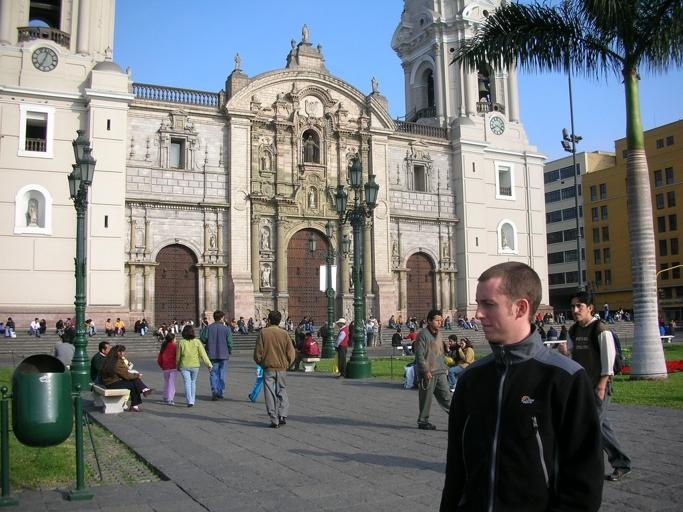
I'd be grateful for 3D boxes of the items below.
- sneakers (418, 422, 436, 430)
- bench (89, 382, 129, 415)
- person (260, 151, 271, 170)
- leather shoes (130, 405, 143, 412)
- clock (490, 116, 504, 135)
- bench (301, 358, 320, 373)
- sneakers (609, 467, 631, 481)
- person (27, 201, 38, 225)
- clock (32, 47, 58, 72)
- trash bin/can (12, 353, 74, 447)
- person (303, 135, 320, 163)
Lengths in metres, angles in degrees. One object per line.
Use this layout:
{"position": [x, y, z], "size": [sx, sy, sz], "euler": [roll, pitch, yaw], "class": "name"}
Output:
{"position": [1.501, 3.050, 13.075], "size": [0.167, 0.112, 0.176], "euler": [-1, -4, 8], "class": "sneakers"}
{"position": [-5.012, 3.104, 15.842], "size": [0.727, 0.600, 1.168], "euler": [1, -6, -24], "class": "bench"}
{"position": [-4.784, -5.945, 45.568], "size": [0.713, 1.287, 0.249], "euler": [4, -8, -44], "class": "person"}
{"position": [-4.521, 3.347, 15.940], "size": [0.218, 0.094, 0.112], "euler": [0, 0, -12], "class": "leather shoes"}
{"position": [11.451, -9.725, 53.934], "size": [1.468, 1.443, 0.157], "euler": [2, -7, -34], "class": "clock"}
{"position": [-1.203, 3.817, 25.593], "size": [0.508, 0.363, 0.515], "euler": [2, -4, -22], "class": "bench"}
{"position": [3.764, 2.983, 9.986], "size": [0.363, 0.138, 0.137], "euler": [-3, -8, -25], "class": "sneakers"}
{"position": [-16.499, -2.325, 38.724], "size": [0.557, 1.481, 0.315], "euler": [1, -6, -29], "class": "person"}
{"position": [-16.303, -10.792, 39.756], "size": [1.398, 1.476, 0.177], "euler": [-3, -2, -39], "class": "clock"}
{"position": [-3.976, 1.910, 9.656], "size": [0.745, 1.207, 0.429], "euler": [0, -6, -19], "class": "trash bin/can"}
{"position": [-2.039, -7.126, 47.377], "size": [1.049, 2.116, 0.653], "euler": [-2, -6, -2], "class": "person"}
